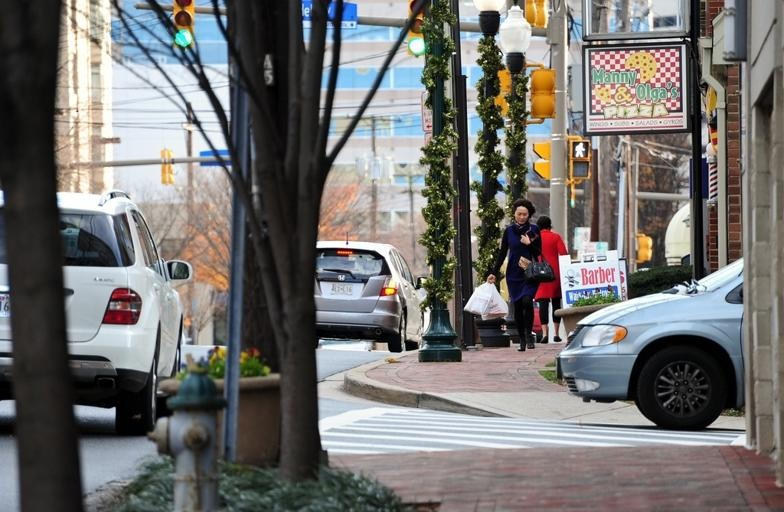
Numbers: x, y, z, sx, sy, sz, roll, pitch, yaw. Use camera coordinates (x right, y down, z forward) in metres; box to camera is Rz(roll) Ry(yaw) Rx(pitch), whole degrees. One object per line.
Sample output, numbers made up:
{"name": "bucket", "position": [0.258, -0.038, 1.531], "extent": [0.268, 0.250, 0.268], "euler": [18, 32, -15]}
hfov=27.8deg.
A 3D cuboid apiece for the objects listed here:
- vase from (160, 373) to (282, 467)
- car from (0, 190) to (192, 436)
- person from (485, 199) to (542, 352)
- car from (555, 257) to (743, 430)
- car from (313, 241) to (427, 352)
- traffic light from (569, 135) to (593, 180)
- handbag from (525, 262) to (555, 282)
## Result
{"name": "vase", "position": [-1.312, 1.526, 14.471], "extent": [0.861, 0.651, 0.863], "euler": [-1, -9, 6]}
{"name": "car", "position": [-3.150, 0.608, 17.001], "extent": [1.233, 2.423, 2.458], "euler": [-1, 0, 17]}
{"name": "person", "position": [1.967, 0.294, 24.781], "extent": [0.684, 2.303, 1.217], "euler": [-1, 0, 4]}
{"name": "car", "position": [3.036, 1.128, 17.819], "extent": [2.388, 1.170, 1.239], "euler": [2, -3, 4]}
{"name": "car", "position": [-0.331, 0.694, 26.882], "extent": [1.458, 1.805, 2.883], "euler": [-1, 0, 17]}
{"name": "traffic light", "position": [3.840, -2.033, 32.657], "extent": [0.431, 0.934, 0.919], "euler": [-1, 0, 6]}
{"name": "handbag", "position": [2.251, 0.256, 24.303], "extent": [0.542, 0.260, 0.520], "euler": [8, 2, 5]}
